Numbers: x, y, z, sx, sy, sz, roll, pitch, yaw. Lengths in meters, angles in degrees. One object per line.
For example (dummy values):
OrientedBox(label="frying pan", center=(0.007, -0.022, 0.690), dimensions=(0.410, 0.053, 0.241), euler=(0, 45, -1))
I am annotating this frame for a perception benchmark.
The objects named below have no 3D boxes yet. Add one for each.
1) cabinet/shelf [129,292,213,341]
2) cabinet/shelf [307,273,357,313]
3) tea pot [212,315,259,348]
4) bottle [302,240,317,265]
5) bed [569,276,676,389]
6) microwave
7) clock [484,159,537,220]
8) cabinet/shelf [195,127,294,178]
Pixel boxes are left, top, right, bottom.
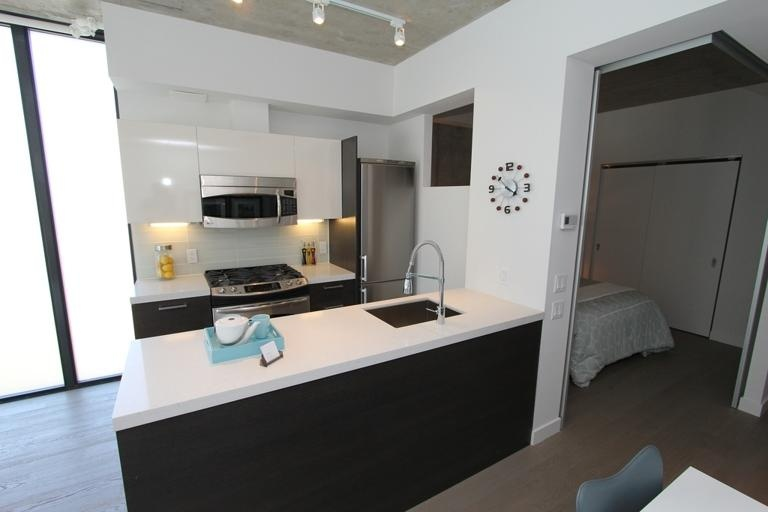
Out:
OrientedBox(label="cabinet/shelf", center=(-2.271, 0.549, 5.358), dimensions=(0.796, 0.464, 0.506), euler=(-5, 22, -25))
OrientedBox(label="cabinet/shelf", center=(-0.652, 0.397, 5.954), dimensions=(0.547, 0.507, 0.397), euler=(-6, 10, -33))
OrientedBox(label="tea pot", center=(-1.185, 0.604, 4.048), dimensions=(0.284, 0.170, 0.216), euler=(0, 4, -41))
OrientedBox(label="bottle", center=(-0.947, -0.039, 6.358), dimensions=(0.205, 0.291, 0.040), euler=(-7, 13, -31))
OrientedBox(label="bed", center=(2.811, 0.895, 6.197), dimensions=(1.230, 0.624, 1.217), euler=(-8, 11, -24))
OrientedBox(label="microwave", center=(-1.546, -0.543, 5.837), dimensions=(1.054, 0.622, 0.601), euler=(-2, -7, -15))
OrientedBox(label="clock", center=(1.224, -0.660, 4.872), dimensions=(0.095, 0.508, 0.455), euler=(-9, 14, -38))
OrientedBox(label="cabinet/shelf", center=(-1.502, -1.168, 5.802), dimensions=(1.168, 0.537, 0.641), euler=(3, 5, 9))
